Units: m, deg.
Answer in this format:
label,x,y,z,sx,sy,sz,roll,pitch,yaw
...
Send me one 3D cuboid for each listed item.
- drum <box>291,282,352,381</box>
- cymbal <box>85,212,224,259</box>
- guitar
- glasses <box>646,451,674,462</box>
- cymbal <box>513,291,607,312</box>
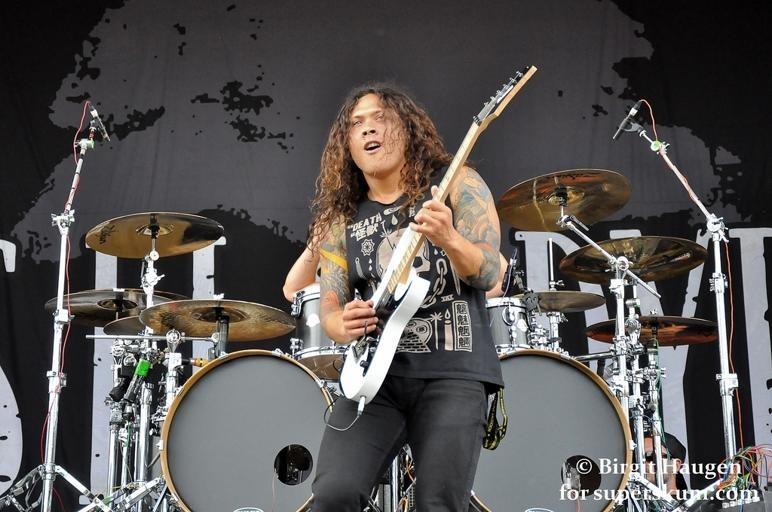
label,x,y,z,sx,sy,sz,roll,pitch,yaw
drum,-0.475,0.660,11.124,0.682,0.695,0.705,8,-9,-41
cymbal,-2.229,-0.213,11.693,0.858,0.460,1.136,-3,0,33
guitar,0.381,-0.090,9.213,0.333,2.963,0.848,22,-2,12
glasses,2.538,1.891,11.546,0.274,0.132,0.042,-4,-30,38
cymbal,1.669,0.433,11.708,0.600,0.249,0.687,2,3,-43
